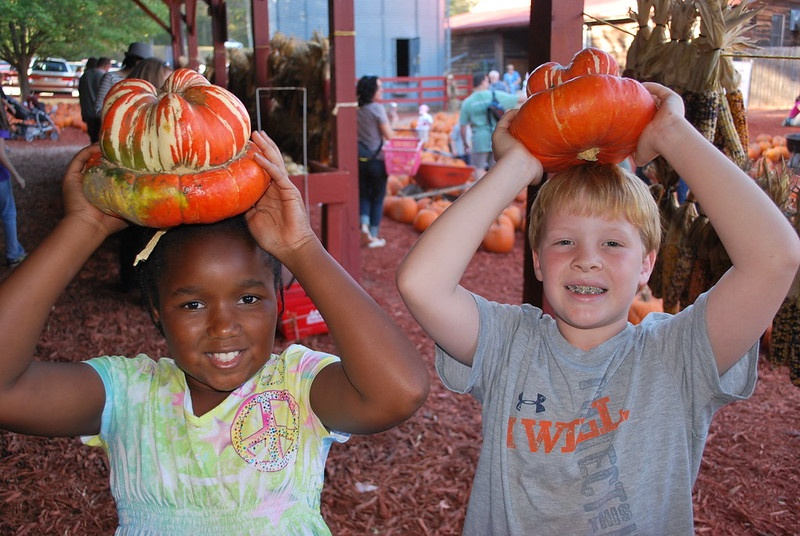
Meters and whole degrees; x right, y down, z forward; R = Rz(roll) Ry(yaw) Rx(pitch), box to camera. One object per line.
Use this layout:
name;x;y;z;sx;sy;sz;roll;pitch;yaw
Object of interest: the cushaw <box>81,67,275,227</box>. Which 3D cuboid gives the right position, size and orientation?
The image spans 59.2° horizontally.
cushaw;-0.875;-0.438;2.923;0.608;0.463;0.632;10;26;18
